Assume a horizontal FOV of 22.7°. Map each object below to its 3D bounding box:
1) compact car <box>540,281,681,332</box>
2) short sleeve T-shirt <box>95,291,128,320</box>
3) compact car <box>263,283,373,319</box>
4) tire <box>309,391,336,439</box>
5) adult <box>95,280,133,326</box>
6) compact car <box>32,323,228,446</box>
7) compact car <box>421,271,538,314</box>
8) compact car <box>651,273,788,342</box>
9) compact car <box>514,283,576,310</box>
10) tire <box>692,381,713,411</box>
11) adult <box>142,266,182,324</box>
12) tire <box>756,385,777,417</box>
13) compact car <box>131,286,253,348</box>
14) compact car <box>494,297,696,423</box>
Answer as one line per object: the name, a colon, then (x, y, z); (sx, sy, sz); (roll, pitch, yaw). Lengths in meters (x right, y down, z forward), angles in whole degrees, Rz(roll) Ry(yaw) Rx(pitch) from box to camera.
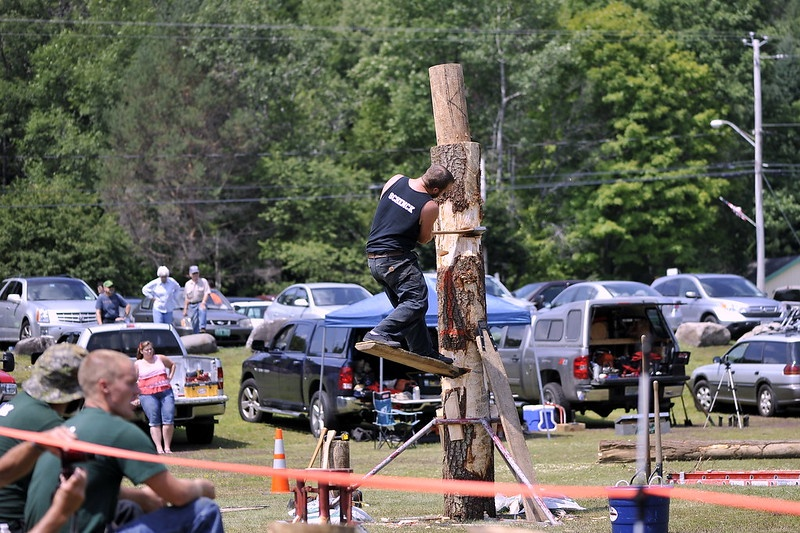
compact car: (8.716, 1.937, 81.938); (2.593, 2.097, 4.729); (-1, 5, -35)
short sleeve T-shirt: (-11.315, 1.520, 77.216); (1.094, 1.024, 0.508); (1, -4, -29)
compact car: (-3.888, 1.391, 81.802); (1.840, 1.383, 3.605); (0, -3, -36)
tire: (-2.854, 5.288, 71.883); (0.541, 1.643, 1.598); (3, -6, -28)
adult: (-11.360, 1.334, 77.364); (1.540, 1.995, 1.482); (-3, 0, -36)
compact car: (-9.360, 3.674, 73.468); (3.076, 2.753, 5.682); (0, 6, -32)
compact car: (3.363, 1.233, 81.531); (3.869, 1.923, 1.984); (0, 2, -11)
compact car: (13.204, 1.652, 83.934); (2.604, 2.178, 5.028); (1, -2, -34)
compact car: (5.860, 1.244, 87.251); (1.234, 1.061, 1.901); (-3, 7, -37)
tire: (11.555, 4.893, 76.504); (0.395, 1.140, 1.108); (2, -4, -29)
adult: (-9.215, 1.071, 76.217); (1.079, 2.117, 1.267); (-2, -2, 25)
tire: (13.733, 4.983, 75.105); (0.404, 1.164, 1.134); (4, -4, -26)
compact car: (-8.847, 2.155, 84.376); (2.255, 2.133, 4.885); (1, -4, -35)
compact car: (7.153, 3.438, 74.340); (6.407, 4.457, 2.401); (-2, -2, 5)
